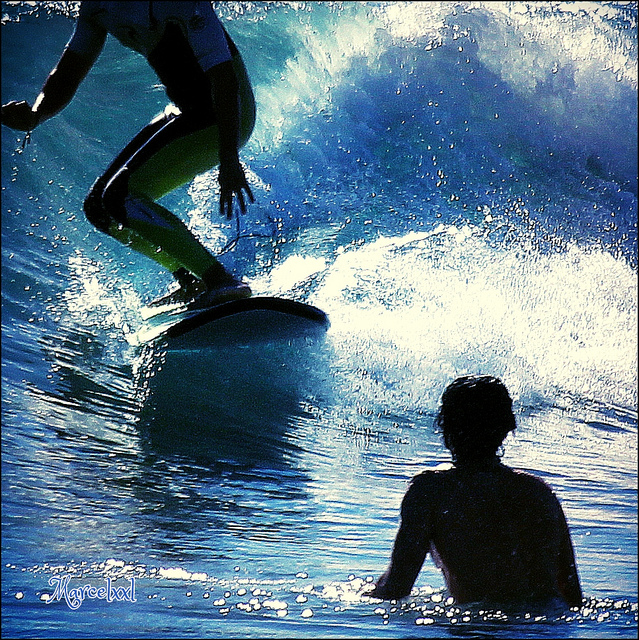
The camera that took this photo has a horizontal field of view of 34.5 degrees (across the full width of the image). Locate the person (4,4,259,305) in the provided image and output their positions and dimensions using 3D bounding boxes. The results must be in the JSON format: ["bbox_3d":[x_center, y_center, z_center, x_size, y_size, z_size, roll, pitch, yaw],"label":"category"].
[{"bbox_3d":[-0.575,-0.564,3.618,0.740,0.914,0.777,-9,-24,32],"label":"person"}]

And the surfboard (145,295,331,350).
[{"bbox_3d":[-0.286,0.023,3.788,0.674,0.172,0.335,6,-19,-8],"label":"surfboard"}]
